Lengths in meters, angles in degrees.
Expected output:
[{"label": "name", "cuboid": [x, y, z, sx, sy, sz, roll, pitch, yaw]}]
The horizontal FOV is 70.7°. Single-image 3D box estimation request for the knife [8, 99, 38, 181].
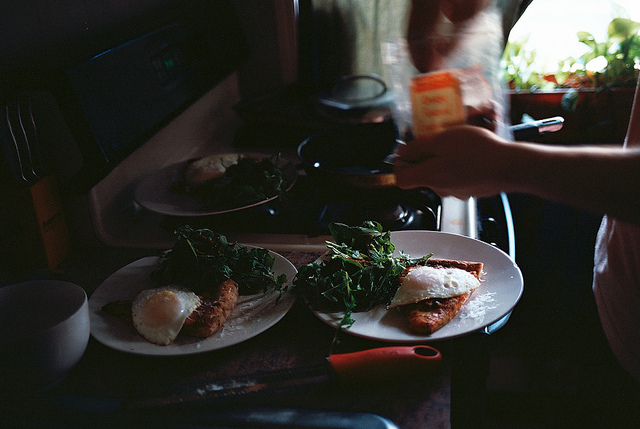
[{"label": "knife", "cuboid": [-0.679, -0.171, 1.020, 0.023, 0.171, 0.038, 1, 14, 19]}]
